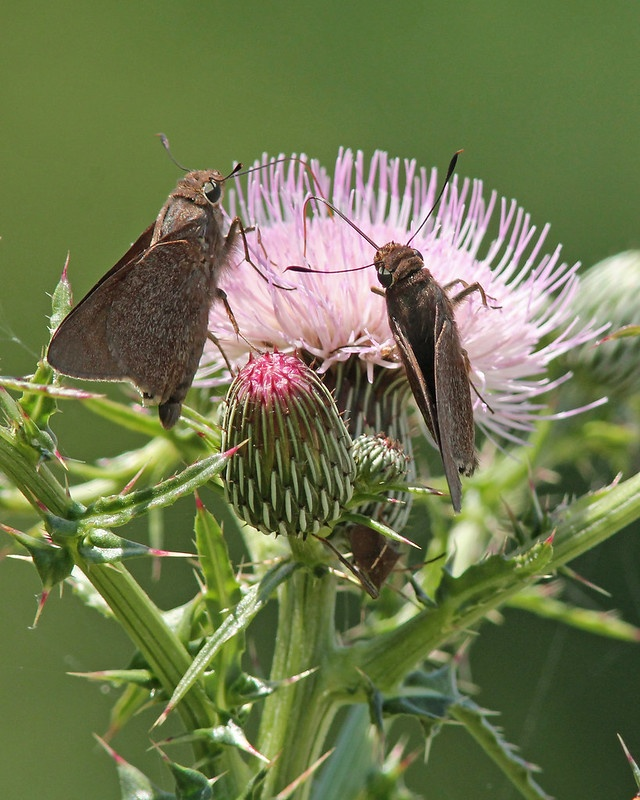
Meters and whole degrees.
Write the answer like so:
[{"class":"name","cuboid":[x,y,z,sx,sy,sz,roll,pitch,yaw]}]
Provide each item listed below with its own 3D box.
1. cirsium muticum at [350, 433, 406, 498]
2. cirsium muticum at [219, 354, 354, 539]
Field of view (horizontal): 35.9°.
[{"class":"cirsium muticum","cuboid":[0.129,0.142,2.197,0.118,0.129,0.164,-1,-6,6]},{"class":"cirsium muticum","cuboid":[-0.104,0.115,2.243,0.364,0.409,0.336,10,11,8]}]
